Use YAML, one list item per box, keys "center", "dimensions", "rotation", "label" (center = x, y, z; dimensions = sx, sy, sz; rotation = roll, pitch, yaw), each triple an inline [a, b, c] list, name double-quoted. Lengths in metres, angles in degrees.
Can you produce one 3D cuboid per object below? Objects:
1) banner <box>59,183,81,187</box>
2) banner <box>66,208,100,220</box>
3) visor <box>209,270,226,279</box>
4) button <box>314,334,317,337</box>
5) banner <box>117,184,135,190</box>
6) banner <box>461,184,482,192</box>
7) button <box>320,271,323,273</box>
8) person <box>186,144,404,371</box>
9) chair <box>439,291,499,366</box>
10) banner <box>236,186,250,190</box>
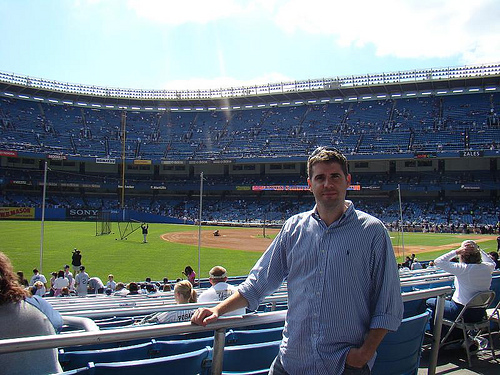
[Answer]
- center: [-21.753, -0.320, 51.359]
  dimensions: [2.734, 0.310, 0.581]
  rotation: [6, -10, -34]
  label: "banner"
- center: [-18.730, 2.995, 47.079]
  dimensions: [1.839, 0.484, 4.122]
  rotation: [15, 9, 41]
  label: "banner"
- center: [-0.472, 1.256, 5.978]
  dimensions: [0.246, 0.076, 0.160]
  rotation: [-5, -11, 6]
  label: "visor"
- center: [0.512, 1.178, 3.341]
  dimensions: [0.022, 0.019, 0.003]
  rotation: [-10, -13, 26]
  label: "button"
- center: [-16.325, 0.017, 55.441]
  dimensions: [2.148, 0.806, 3.541]
  rotation: [-1, -11, -17]
  label: "banner"
- center: [20.922, -0.021, 40.335]
  dimensions: [1.729, 0.733, 1.815]
  rotation: [-8, -11, 18]
  label: "banner"
- center: [0.564, 0.680, 3.390]
  dimensions: [0.017, 0.009, 0.009]
  rotation: [13, -37, -23]
  label: "button"
- center: [0.523, 0.587, 3.565]
  dimensions: [1.303, 1.841, 0.301]
  rotation: [-9, -13, 20]
  label: "person"
- center: [2.822, 1.808, 5.557]
  dimensions: [0.713, 0.837, 1.020]
  rotation: [-9, -12, 19]
  label: "chair"
- center: [-0.931, 0.039, 51.379]
  dimensions: [1.883, 0.730, 0.214]
  rotation: [-10, -13, 29]
  label: "banner"
